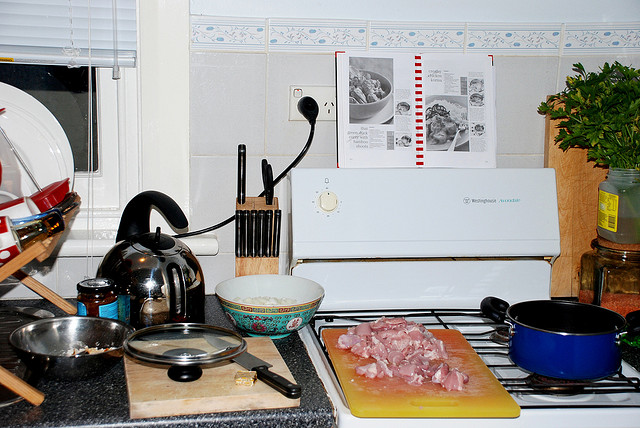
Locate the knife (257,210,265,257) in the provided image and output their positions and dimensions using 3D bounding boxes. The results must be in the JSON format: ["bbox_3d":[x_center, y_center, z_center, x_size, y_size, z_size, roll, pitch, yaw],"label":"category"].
[{"bbox_3d":[-0.162,0.053,1.343,0.020,0.127,0.019,1,14,3],"label":"knife"}]

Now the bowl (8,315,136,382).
[{"bbox_3d":[-0.530,0.287,1.048,0.246,0.084,0.148,-1,14,-2],"label":"bowl"}]

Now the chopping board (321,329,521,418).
[{"bbox_3d":[0.196,0.334,1.073,0.336,0.052,0.339,-2,14,-10],"label":"chopping board"}]

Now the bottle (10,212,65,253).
[{"bbox_3d":[-0.593,0.033,1.030,0.095,0.072,0.051,-8,16,-30],"label":"bottle"}]

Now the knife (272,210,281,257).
[{"bbox_3d":[-0.120,0.052,1.356,0.019,0.128,0.037,2,15,10],"label":"knife"}]

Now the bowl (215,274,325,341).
[{"bbox_3d":[-0.121,0.254,1.238,0.270,0.097,0.257,1,1,0],"label":"bowl"}]

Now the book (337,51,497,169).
[{"bbox_3d":[0.263,-0.291,1.425,0.382,0.253,0.040,0,-4,-5],"label":"book"}]

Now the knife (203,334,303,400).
[{"bbox_3d":[-0.174,0.284,1.084,0.069,0.033,0.467,-2,11,-32],"label":"knife"}]

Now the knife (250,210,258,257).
[{"bbox_3d":[-0.187,0.053,1.348,0.026,0.129,0.025,2,1,26],"label":"knife"}]

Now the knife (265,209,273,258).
[{"bbox_3d":[-0.141,0.052,1.345,0.016,0.128,0.026,7,16,26],"label":"knife"}]

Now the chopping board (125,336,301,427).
[{"bbox_3d":[-0.220,0.322,1.005,0.335,0.099,0.231,-5,15,-20],"label":"chopping board"}]

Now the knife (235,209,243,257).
[{"bbox_3d":[-0.222,0.052,1.343,0.020,0.126,0.024,1,14,3],"label":"knife"}]

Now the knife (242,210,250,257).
[{"bbox_3d":[-0.206,0.053,1.351,0.024,0.131,0.022,0,7,-10],"label":"knife"}]

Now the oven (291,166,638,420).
[{"bbox_3d":[0.312,0.208,1.198,0.727,0.366,0.605,1,15,-2],"label":"oven"}]

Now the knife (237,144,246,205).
[{"bbox_3d":[-0.221,-0.109,1.363,0.024,0.164,0.023,0,14,-15],"label":"knife"}]
